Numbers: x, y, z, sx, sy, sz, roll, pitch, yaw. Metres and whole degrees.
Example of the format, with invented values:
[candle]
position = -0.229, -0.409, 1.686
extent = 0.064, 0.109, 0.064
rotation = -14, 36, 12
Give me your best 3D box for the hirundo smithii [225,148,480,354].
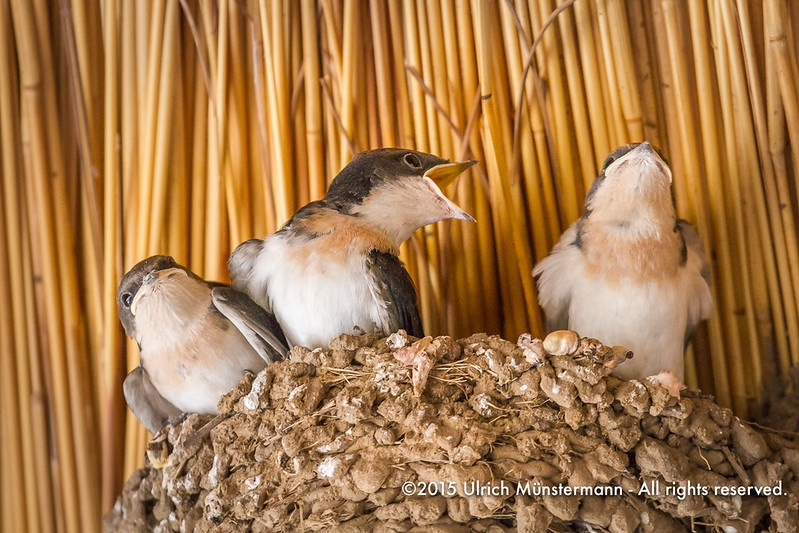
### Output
[hirundo smithii]
position = -0.121, 0.021, 2.885
extent = 0.585, 0.692, 0.415
rotation = 1, -18, -4
